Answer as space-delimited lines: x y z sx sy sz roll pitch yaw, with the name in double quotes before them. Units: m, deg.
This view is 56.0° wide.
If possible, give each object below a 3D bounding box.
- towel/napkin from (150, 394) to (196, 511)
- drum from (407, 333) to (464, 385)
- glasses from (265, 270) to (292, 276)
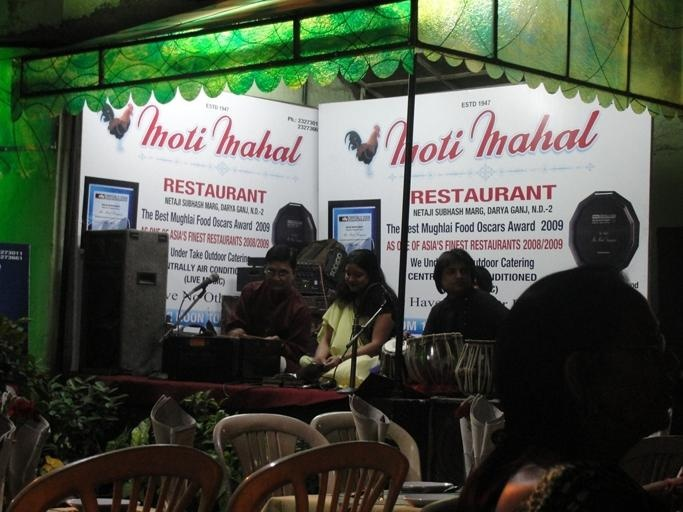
"towel/napkin" -0.624 0.725 2.439 0.248 0.399 0.198 -3 12 -18
"drum" 0.542 0.605 3.783 0.301 0.245 0.316 -2 -15 0
"glasses" -0.609 0.165 6.241 0.248 0.087 0.092 4 -2 -6
